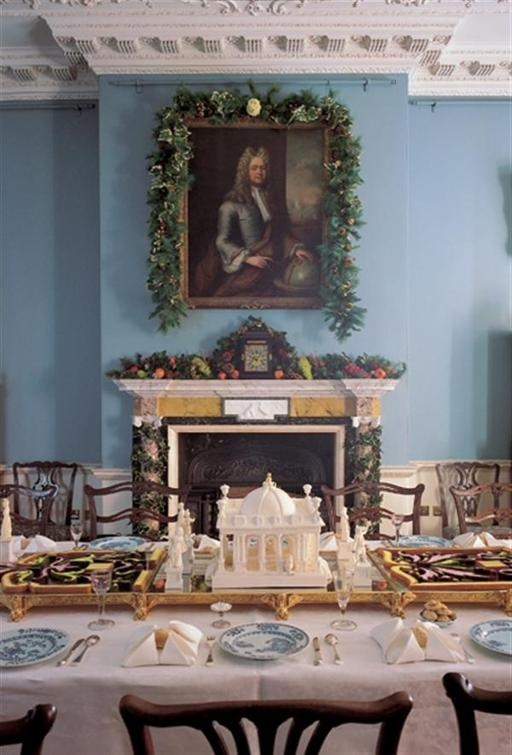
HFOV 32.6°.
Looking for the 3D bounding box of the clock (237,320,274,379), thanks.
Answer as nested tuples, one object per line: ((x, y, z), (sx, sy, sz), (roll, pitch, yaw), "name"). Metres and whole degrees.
((-0.006, -0.183, 6.666), (0.393, 0.564, 0.364), (1, -5, 0), "clock")

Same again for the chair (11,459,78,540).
((-1.676, 0.965, 7.014), (0.625, 0.771, 0.577), (0, -14, -1), "chair")

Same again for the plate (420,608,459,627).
((0.774, 1.014, 3.736), (0.102, 0.049, 0.088), (6, -2, -28), "plate")
